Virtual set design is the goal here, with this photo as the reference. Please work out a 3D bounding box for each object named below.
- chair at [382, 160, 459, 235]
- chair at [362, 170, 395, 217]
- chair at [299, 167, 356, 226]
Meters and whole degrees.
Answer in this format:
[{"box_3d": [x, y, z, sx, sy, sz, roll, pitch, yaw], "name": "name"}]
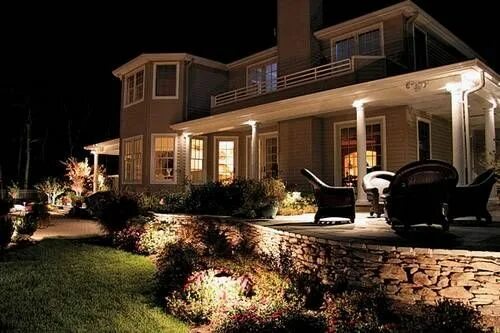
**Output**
[{"box_3d": [4.587, 0.731, 11.094, 1.717, 1.912, 1.950, -7, 6, 0], "name": "chair"}, {"box_3d": [4.530, 0.919, 13.872, 1.459, 1.462, 1.405, -2, 7, 17], "name": "chair"}, {"box_3d": [2.498, 0.942, 12.624, 1.870, 1.515, 1.596, 2, -7, 0], "name": "chair"}]
